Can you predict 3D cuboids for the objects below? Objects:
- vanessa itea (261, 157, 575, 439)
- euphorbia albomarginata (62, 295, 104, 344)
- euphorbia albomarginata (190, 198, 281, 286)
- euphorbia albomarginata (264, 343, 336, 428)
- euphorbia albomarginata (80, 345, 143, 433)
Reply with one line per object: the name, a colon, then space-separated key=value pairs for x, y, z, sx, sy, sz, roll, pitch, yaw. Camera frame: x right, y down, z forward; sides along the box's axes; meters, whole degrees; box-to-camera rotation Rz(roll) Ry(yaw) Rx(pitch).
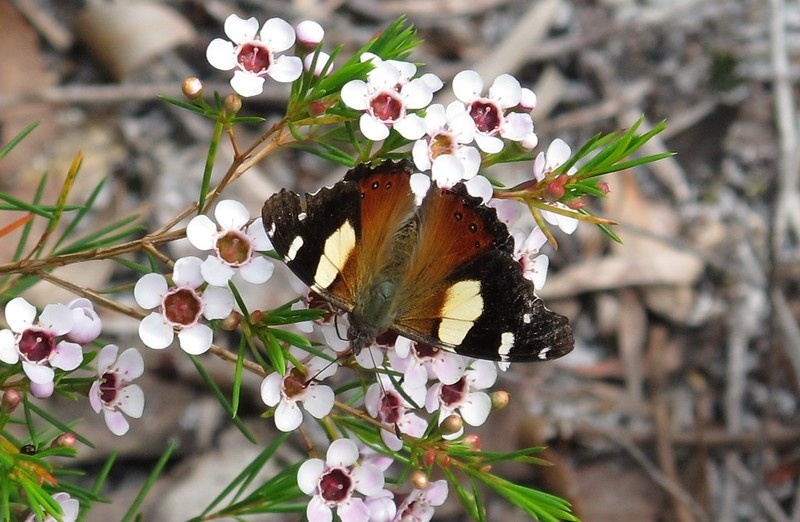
vanessa itea: x=0.093 y=0.148 z=5.304 sx=2.041 sy=0.530 sz=1.183 roll=34 pitch=93 yaw=-6
euphorbia albomarginata: x=-1.786 y=0.346 z=5.189 sx=0.209 sy=0.243 sz=0.262 roll=1 pitch=85 yaw=-7
euphorbia albomarginata: x=-0.972 y=-0.089 z=5.183 sx=0.429 sy=0.211 sz=0.531 roll=-19 pitch=69 yaw=-19
euphorbia albomarginata: x=-0.567 y=0.743 z=5.208 sx=0.413 sy=0.111 sz=0.410 roll=22 pitch=80 yaw=-17
euphorbia albomarginata: x=-1.659 y=0.758 z=5.272 sx=0.348 sy=0.500 sz=0.342 roll=12 pitch=23 yaw=29
